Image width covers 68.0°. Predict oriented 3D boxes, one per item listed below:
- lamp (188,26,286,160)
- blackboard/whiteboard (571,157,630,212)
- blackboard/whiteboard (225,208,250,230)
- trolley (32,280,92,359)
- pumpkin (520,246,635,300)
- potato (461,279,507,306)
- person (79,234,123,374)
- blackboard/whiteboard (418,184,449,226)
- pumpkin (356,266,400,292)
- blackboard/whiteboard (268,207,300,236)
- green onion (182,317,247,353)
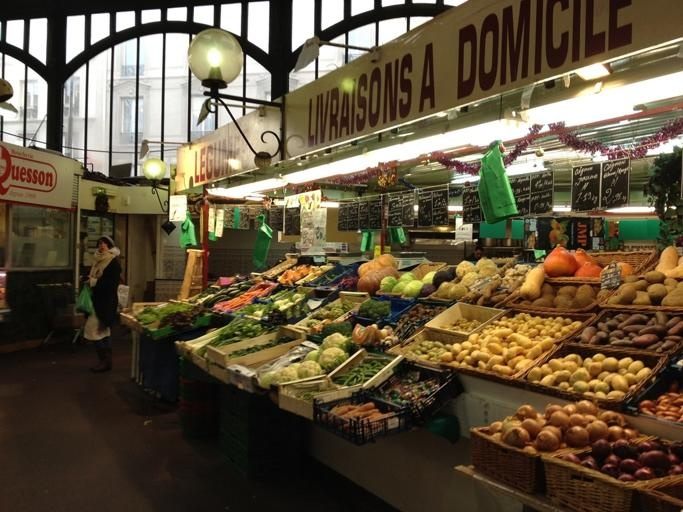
[{"bbox_3d":[-1.035,-1.541,4.879,0.978,1.123,0.594,9,4,-11],"label":"lamp"},{"bbox_3d":[2.520,-0.691,5.016,0.158,0.436,0.625,1,2,-27],"label":"blackboard/whiteboard"},{"bbox_3d":[-1.862,-0.695,9.168,0.404,0.370,1.040,1,2,-20],"label":"blackboard/whiteboard"},{"bbox_3d":[-5.376,1.100,10.017,1.053,1.696,1.110,-3,9,-36],"label":"trolley"},{"bbox_3d":[1.837,0.092,4.057,0.784,0.417,0.384,4,6,37],"label":"pumpkin"},{"bbox_3d":[1.180,0.280,4.084,0.271,0.082,0.187,-25,17,-38],"label":"potato"},{"bbox_3d":[-3.645,0.723,7.684,0.477,2.021,0.505,1,1,-26],"label":"person"},{"bbox_3d":[1.127,-0.616,6.256,0.030,0.591,0.574,0,-1,-41],"label":"blackboard/whiteboard"},{"bbox_3d":[0.338,0.228,5.112,0.284,0.150,0.281,-13,6,18],"label":"pumpkin"},{"bbox_3d":[-0.844,-0.535,7.670,0.221,0.408,0.688,0,2,-41],"label":"blackboard/whiteboard"},{"bbox_3d":[-1.360,0.808,5.189,0.423,0.284,0.678,3,2,35],"label":"green onion"}]
